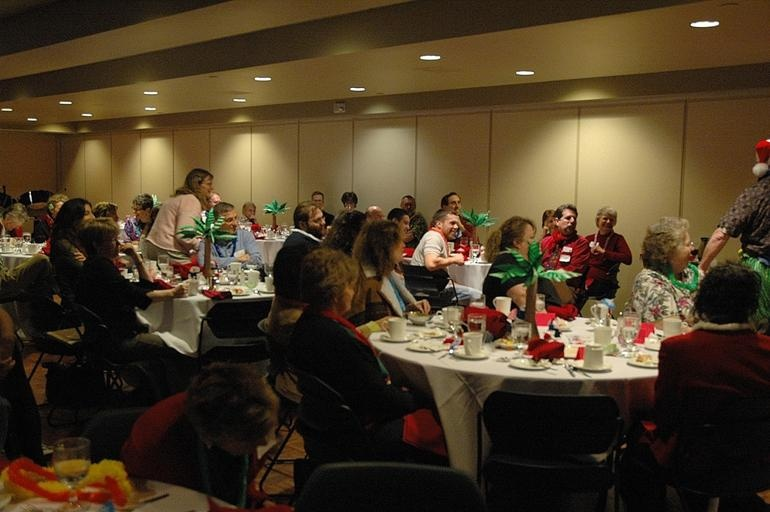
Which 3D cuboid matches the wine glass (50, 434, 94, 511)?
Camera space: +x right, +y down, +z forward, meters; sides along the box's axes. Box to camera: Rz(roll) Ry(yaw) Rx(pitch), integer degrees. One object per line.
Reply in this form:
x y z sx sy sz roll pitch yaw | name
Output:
-1.131 0.756 1.988 0.137 0.167 0.080 2 3 25 | wine glass

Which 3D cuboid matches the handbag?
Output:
-2.385 0.934 4.269 0.453 0.457 0.405 1 1 -31 | handbag
